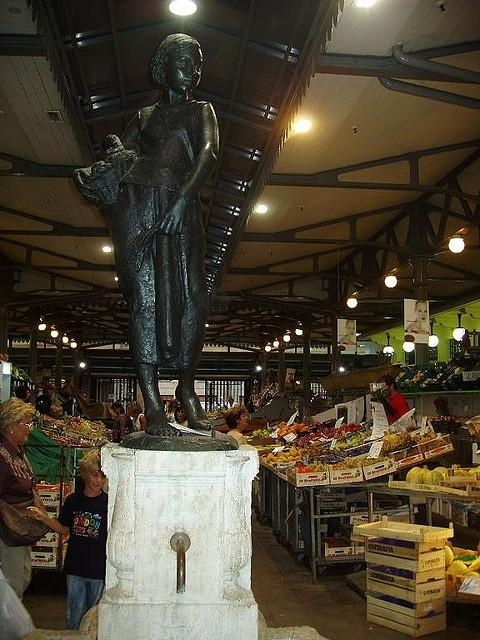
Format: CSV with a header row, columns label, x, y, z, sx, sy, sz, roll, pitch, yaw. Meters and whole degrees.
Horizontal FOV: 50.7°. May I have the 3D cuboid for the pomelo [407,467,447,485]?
label,x,y,z,sx,sy,sz,roll,pitch,yaw
pomelo,1.606,1.337,4.385,0.340,0.124,0.439,-5,-12,17

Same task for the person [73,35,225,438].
label,x,y,z,sx,sy,sz,roll,pitch,yaw
person,-0.299,-0.329,1.849,0.539,1.447,0.331,-7,-14,25
